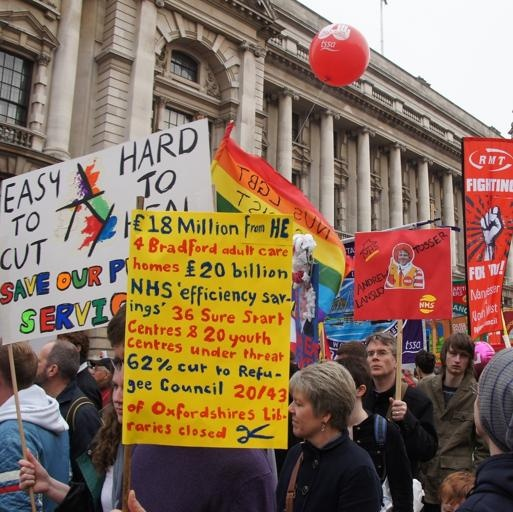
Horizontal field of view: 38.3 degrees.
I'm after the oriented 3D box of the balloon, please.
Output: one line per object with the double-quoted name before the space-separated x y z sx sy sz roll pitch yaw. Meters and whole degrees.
"balloon" 1.039 -2.575 9.262 0.696 0.607 0.522 -11 -17 41
